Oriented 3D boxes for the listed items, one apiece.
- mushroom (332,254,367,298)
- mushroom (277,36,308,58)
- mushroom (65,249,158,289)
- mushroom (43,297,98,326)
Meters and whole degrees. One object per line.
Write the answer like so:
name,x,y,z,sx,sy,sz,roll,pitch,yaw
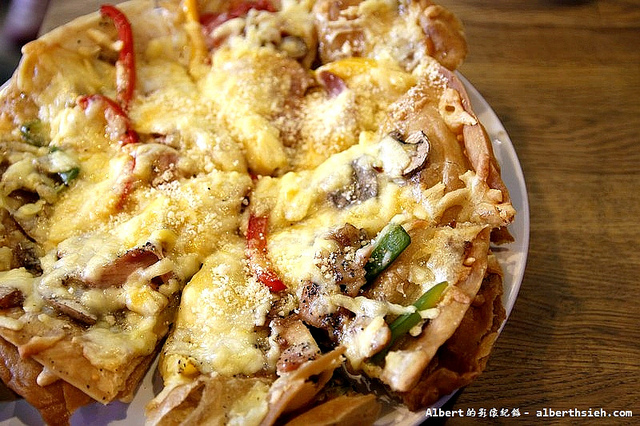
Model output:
mushroom,0.124,0.312,3.139,0.177,0.101,0.130,32,60,14
mushroom,-0.163,-0.939,3.643,0.139,0.079,0.119,-7,74,-14
mushroom,-1.004,0.267,3.135,0.209,0.102,0.337,32,42,25
mushroom,-1.190,0.478,3.092,0.159,0.155,0.045,22,92,5
